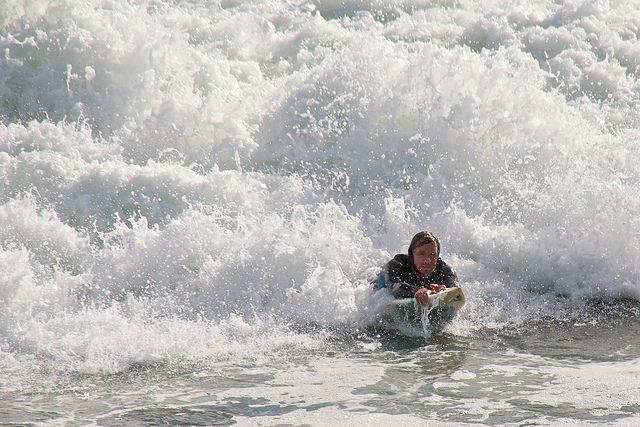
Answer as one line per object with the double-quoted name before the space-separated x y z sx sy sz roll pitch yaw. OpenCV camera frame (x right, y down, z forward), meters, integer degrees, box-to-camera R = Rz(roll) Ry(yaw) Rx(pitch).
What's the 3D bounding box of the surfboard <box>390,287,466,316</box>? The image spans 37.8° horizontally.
"surfboard" 2.195 1.685 17.633 0.451 0.266 1.403 16 -11 -20
